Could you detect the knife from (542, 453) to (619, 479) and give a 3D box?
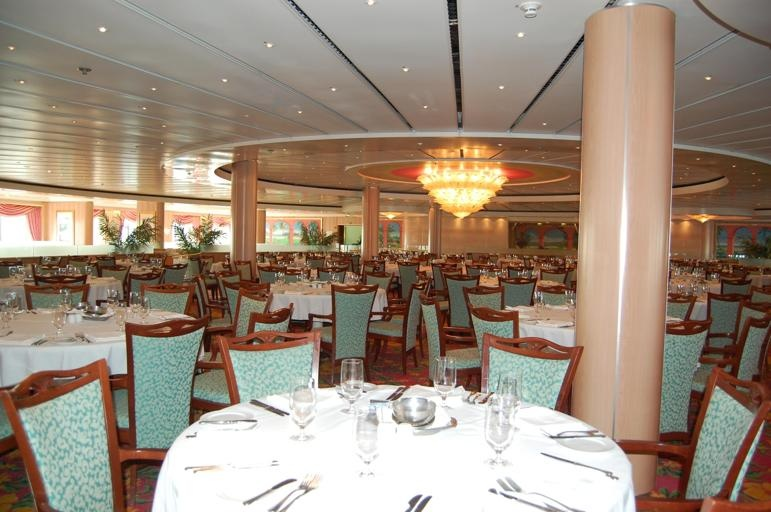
[{"bbox_3d":[0.880,0.980,2.307,0.381,0.019,0.084,5,13,25],"label":"knife"}]

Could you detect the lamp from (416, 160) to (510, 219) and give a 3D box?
[{"bbox_3d":[1.912,-1.769,12.697,2.060,0.819,1.977,0,0,36],"label":"lamp"}]
